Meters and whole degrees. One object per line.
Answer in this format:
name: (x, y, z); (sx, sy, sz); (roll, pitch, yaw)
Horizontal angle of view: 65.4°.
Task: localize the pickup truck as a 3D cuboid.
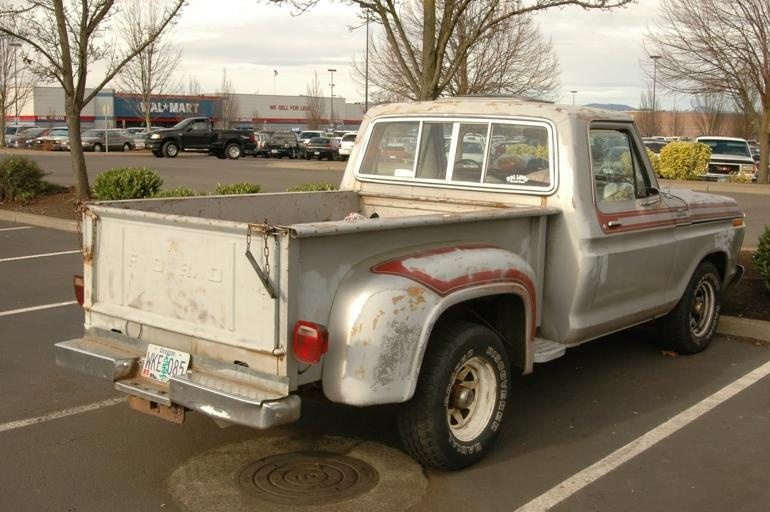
pickup truck: (0.676, -0.011, 5.887); (6.411, 2.363, 3.043); (-11, 16, -39)
